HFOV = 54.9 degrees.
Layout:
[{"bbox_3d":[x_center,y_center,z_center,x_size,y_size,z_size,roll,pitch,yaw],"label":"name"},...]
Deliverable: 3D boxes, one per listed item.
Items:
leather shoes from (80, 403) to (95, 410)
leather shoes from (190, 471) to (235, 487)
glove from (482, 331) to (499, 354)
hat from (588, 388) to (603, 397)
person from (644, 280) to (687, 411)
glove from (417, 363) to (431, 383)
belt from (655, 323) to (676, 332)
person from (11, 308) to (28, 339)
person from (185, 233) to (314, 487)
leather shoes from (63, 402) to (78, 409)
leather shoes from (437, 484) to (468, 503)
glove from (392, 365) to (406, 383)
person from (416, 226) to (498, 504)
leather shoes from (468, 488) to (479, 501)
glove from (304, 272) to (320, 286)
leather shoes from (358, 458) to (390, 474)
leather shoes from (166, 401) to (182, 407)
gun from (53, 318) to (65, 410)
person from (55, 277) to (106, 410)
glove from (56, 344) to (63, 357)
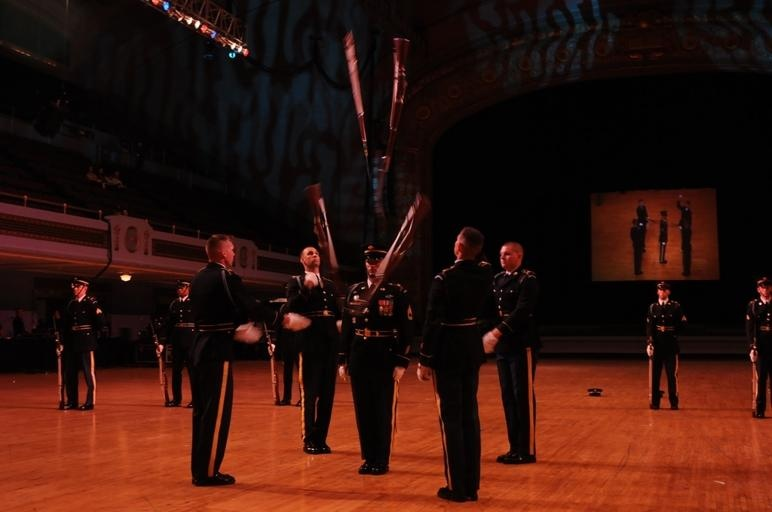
[{"bbox_3d":[-5.540,2.832,13.863,0.224,0.116,0.269,5,-10,-20],"label":"leather shoes"},{"bbox_3d":[-2.178,2.890,9.575,0.598,0.221,0.186,-2,-10,-2],"label":"leather shoes"},{"bbox_3d":[1.337,1.151,9.921,0.239,0.297,0.117,6,-11,38],"label":"glove"},{"bbox_3d":[4.300,2.870,15.559,0.307,0.151,0.540,-1,-9,14],"label":"hat"},{"bbox_3d":[5.225,1.702,14.083,0.648,2.368,0.681,-1,-9,17],"label":"person"},{"bbox_3d":[0.470,1.468,9.360,0.171,0.197,0.329,1,-9,1],"label":"glove"},{"bbox_3d":[5.173,1.370,13.961,0.320,0.117,0.056,1,-9,1],"label":"belt"},{"bbox_3d":[-10.967,2.024,22.403,0.422,0.844,1.343,6,-10,-25],"label":"person"},{"bbox_3d":[-2.101,1.334,9.688,0.928,3.260,0.522,1,-9,5],"label":"person"},{"bbox_3d":[-5.863,2.827,13.902,0.264,0.095,0.143,2,-9,-3],"label":"leather shoes"},{"bbox_3d":[0.788,2.951,9.214,0.348,0.137,0.156,5,0,44],"label":"leather shoes"},{"bbox_3d":[0.148,1.592,9.933,0.136,0.202,0.350,2,-9,-1],"label":"glove"},{"bbox_3d":[0.842,1.338,9.319,0.901,3.384,0.493,2,-9,-4],"label":"person"},{"bbox_3d":[1.048,2.988,9.217,0.133,0.125,0.116,2,-14,-6],"label":"leather shoes"},{"bbox_3d":[-1.058,0.349,10.752,0.197,0.313,0.259,-2,-4,3],"label":"glove"},{"bbox_3d":[-0.180,2.843,9.955,0.387,0.141,0.158,4,-17,0],"label":"leather shoes"},{"bbox_3d":[-4.050,2.832,14.241,0.333,0.113,0.185,1,-9,-1],"label":"leather shoes"},{"bbox_3d":[-6.785,2.282,15.504,0.089,2.000,0.381,0,2,29],"label":"gun"},{"bbox_3d":[-5.827,1.665,14.218,0.763,2.479,0.749,5,-10,-21],"label":"person"},{"bbox_3d":[-6.126,1.794,14.059,0.151,0.226,0.073,-7,-13,44],"label":"glove"}]
